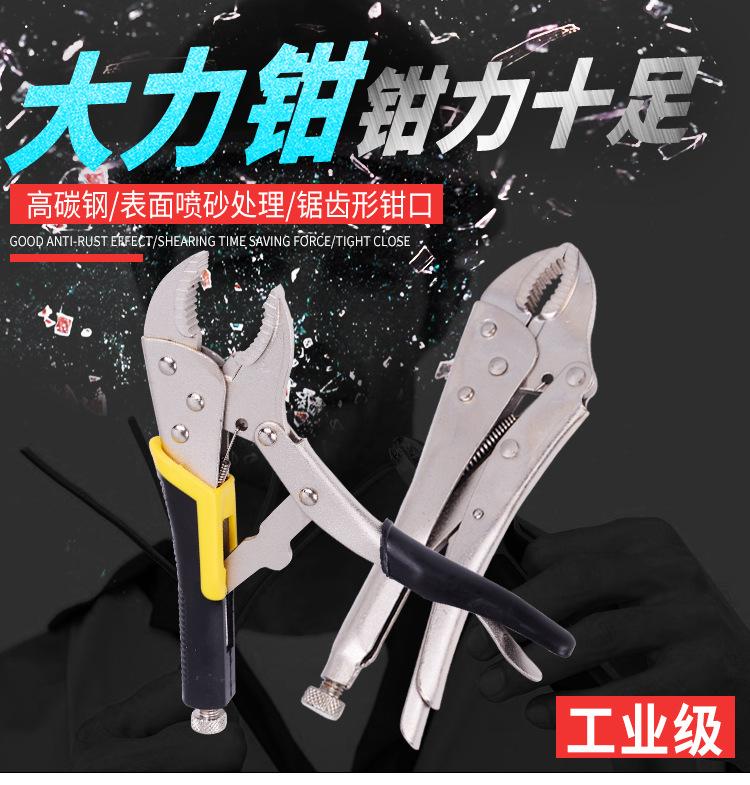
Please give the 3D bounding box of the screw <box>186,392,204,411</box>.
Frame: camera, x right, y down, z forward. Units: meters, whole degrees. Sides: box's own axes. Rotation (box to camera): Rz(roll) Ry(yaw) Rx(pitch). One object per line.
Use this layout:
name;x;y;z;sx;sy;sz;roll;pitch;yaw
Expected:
screw;-0.127;0.006;0.570;0.013;0.003;0.012;3;95;18

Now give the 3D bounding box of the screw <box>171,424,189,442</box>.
screw;-0.138;0.029;0.581;0.013;0.003;0.012;-20;89;23

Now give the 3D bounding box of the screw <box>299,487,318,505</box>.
screw;-0.048;0.073;0.576;0.013;0.003;0.011;1;89;19

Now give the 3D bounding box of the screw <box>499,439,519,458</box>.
screw;0.098;0.043;0.604;0.013;0.003;0.012;17;89;-3

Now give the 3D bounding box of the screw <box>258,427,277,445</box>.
screw;-0.076;0.032;0.573;0.013;0.003;0.012;23;105;9

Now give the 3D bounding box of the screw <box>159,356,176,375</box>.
screw;-0.147;-0.019;0.573;0.013;0.003;0.012;0;100;19
